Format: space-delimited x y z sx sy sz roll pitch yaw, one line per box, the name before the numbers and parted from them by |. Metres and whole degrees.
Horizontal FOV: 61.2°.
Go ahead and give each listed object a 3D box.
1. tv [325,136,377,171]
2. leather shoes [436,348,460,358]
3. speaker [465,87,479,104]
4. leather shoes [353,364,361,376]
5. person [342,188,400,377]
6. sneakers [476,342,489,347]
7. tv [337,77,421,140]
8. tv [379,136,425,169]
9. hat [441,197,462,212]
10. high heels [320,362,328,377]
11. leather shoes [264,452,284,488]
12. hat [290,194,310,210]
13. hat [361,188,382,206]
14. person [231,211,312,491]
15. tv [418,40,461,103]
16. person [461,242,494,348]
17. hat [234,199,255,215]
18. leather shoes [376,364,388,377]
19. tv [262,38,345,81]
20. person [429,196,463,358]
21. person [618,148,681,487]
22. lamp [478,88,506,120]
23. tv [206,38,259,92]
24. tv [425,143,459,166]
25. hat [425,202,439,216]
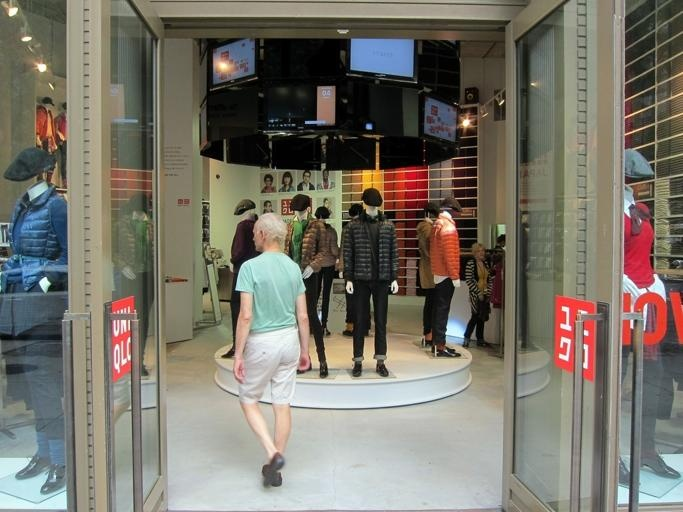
tv | 0.116 -1.461 8.282 0.656 0.508 0.382 1 2 -1
leather shoes | 1.121 1.041 6.141 0.262 0.105 0.099 0 1 -4
speaker | 2.020 -2.514 8.993 0.227 0.293 0.315 0 5 12
leather shoes | 0.139 1.039 5.302 0.089 0.096 0.171 -1 5 0
person | 0.277 0.238 5.349 0.528 1.722 0.419 -1 4 -6
sneakers | 1.795 1.128 7.367 0.136 0.063 0.057 -3 5 12
tv | 0.424 -1.637 6.390 1.066 0.554 0.236 -4 6 -36
tv | 0.751 -1.451 8.381 0.386 0.498 0.696 15 7 -7
hat | 1.183 -0.555 6.282 0.186 0.155 0.276 2 10 5
high heels | -0.162 1.029 5.278 0.086 0.125 0.240 -1 5 -1
leather shoes | -0.428 1.359 3.667 0.095 0.275 0.108 6 32 -19
hat | -0.430 -0.549 5.894 0.193 0.174 0.254 -1 5 -6
hat | 0.280 -0.552 5.400 0.160 0.180 0.313 -1 5 0
person | -0.450 0.592 3.751 0.458 1.731 0.437 -1 4 -4
tv | 1.369 -2.485 7.593 0.353 0.656 0.662 -14 27 -38
person | 1.686 0.494 7.191 0.335 1.336 0.611 1 5 14
hat | -1.069 -0.557 6.246 0.160 0.151 0.234 -30 -6 13
leather shoes | 0.374 1.046 5.293 0.117 0.081 0.187 0 5 3
tv | -0.435 -2.197 6.401 0.352 0.467 0.668 20 22 30
person | 1.097 0.229 6.077 0.318 1.664 0.501 0 4 9
person | 1.602 0.348 3.039 0.560 1.820 0.232 -5 6 -44
lamp | 2.199 -2.170 8.364 0.221 0.397 0.517 -4 6 -36
tv | -1.200 -2.141 6.379 0.767 0.461 0.077 4 6 42
tv | 1.311 -1.397 7.748 0.413 0.240 0.290 0 -6 45
hat | 1.058 -0.557 6.631 0.133 0.192 0.181 3 -11 -7
